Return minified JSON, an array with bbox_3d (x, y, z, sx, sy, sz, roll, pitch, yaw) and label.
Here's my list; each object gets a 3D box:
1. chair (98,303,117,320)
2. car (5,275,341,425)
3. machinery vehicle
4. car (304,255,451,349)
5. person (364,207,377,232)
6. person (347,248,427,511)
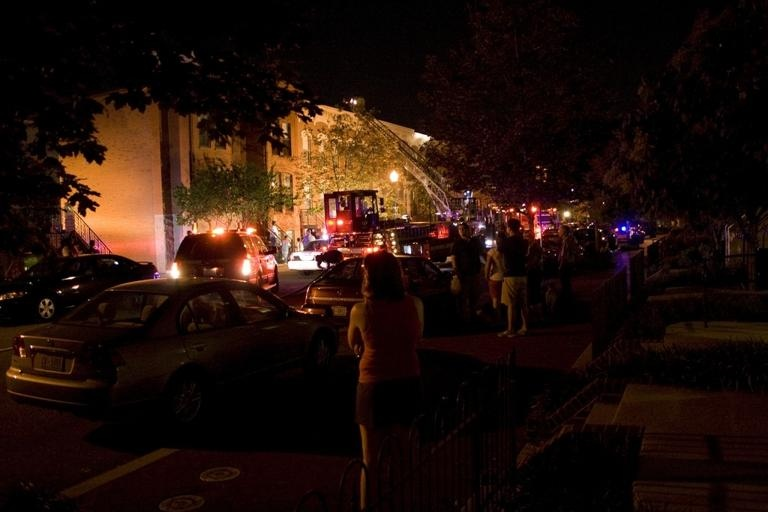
[{"bbox_3d":[-3.806,0.764,7.697,0.172,0.264,0.296,-2,-4,17],"label":"chair"},{"bbox_3d":[-2.472,0.831,8.201,1.944,1.376,4.326,1,4,31],"label":"car"},{"bbox_3d":[1.138,-1.469,29.493,3.447,3.981,9.037,-5,2,42],"label":"machinery vehicle"},{"bbox_3d":[0.181,0.875,12.835,1.783,1.245,2.951,1,6,36],"label":"car"},{"bbox_3d":[-0.592,-1.721,26.753,0.476,1.008,0.845,-7,-2,32],"label":"person"},{"bbox_3d":[0.029,0.849,4.690,0.622,1.840,0.327,-6,-1,3],"label":"person"}]
